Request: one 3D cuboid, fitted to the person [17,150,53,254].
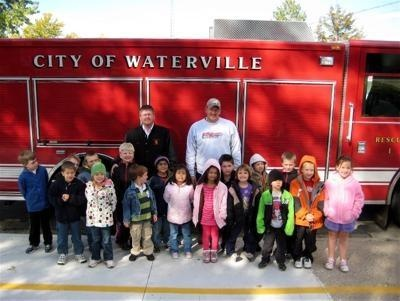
[{"bbox_3d":[-2.483,0.883,6.242,0.412,1.238,0.221,-4,2,-19],"label":"person"}]

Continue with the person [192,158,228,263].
[{"bbox_3d":[0.161,0.885,5.955,0.526,1.508,0.201,-3,2,2],"label":"person"}]

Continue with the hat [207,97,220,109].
[{"bbox_3d":[0.208,-0.725,6.321,0.196,0.163,0.146,-3,2,6],"label":"hat"}]

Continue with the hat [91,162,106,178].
[{"bbox_3d":[-1.428,0.266,5.806,0.147,0.152,0.195,-2,3,-10],"label":"hat"}]

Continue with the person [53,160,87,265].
[{"bbox_3d":[-1.881,0.896,5.940,0.487,1.174,0.348,-4,2,-17],"label":"person"}]

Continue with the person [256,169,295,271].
[{"bbox_3d":[1.085,1.096,5.840,0.543,1.235,0.232,-3,2,7],"label":"person"}]

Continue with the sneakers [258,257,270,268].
[{"bbox_3d":[0.921,1.614,5.911,0.084,0.098,0.232,-15,1,38],"label":"sneakers"}]

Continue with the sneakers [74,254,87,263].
[{"bbox_3d":[-1.728,1.563,5.975,0.214,0.095,0.080,4,1,41],"label":"sneakers"}]

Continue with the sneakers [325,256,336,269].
[{"bbox_3d":[1.891,1.634,5.956,0.120,0.132,0.312,-3,-13,15],"label":"sneakers"}]

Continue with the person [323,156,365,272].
[{"bbox_3d":[2.075,0.904,5.972,0.555,1.652,0.527,-3,2,16],"label":"person"}]

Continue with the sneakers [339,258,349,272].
[{"bbox_3d":[2.069,1.654,5.879,0.079,0.091,0.233,-2,0,11],"label":"sneakers"}]

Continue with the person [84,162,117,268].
[{"bbox_3d":[-1.396,0.926,5.850,0.446,1.107,0.276,-4,2,-15],"label":"person"}]

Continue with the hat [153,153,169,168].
[{"bbox_3d":[-0.585,0.132,6.271,0.154,0.120,0.136,-8,-3,43],"label":"hat"}]

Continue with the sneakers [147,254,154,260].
[{"bbox_3d":[-0.716,1.573,6.024,0.061,0.073,0.113,5,-9,-41],"label":"sneakers"}]

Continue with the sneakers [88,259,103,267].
[{"bbox_3d":[-1.511,1.619,5.906,0.076,0.068,0.192,-5,-12,17],"label":"sneakers"}]

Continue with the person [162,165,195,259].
[{"bbox_3d":[-0.286,0.910,6.072,0.453,1.373,0.259,-2,2,27],"label":"person"}]

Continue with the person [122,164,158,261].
[{"bbox_3d":[-0.860,0.917,5.951,0.467,0.950,0.276,-3,2,-10],"label":"person"}]

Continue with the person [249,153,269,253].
[{"bbox_3d":[0.995,0.575,6.466,0.311,1.085,0.282,6,30,16],"label":"person"}]
